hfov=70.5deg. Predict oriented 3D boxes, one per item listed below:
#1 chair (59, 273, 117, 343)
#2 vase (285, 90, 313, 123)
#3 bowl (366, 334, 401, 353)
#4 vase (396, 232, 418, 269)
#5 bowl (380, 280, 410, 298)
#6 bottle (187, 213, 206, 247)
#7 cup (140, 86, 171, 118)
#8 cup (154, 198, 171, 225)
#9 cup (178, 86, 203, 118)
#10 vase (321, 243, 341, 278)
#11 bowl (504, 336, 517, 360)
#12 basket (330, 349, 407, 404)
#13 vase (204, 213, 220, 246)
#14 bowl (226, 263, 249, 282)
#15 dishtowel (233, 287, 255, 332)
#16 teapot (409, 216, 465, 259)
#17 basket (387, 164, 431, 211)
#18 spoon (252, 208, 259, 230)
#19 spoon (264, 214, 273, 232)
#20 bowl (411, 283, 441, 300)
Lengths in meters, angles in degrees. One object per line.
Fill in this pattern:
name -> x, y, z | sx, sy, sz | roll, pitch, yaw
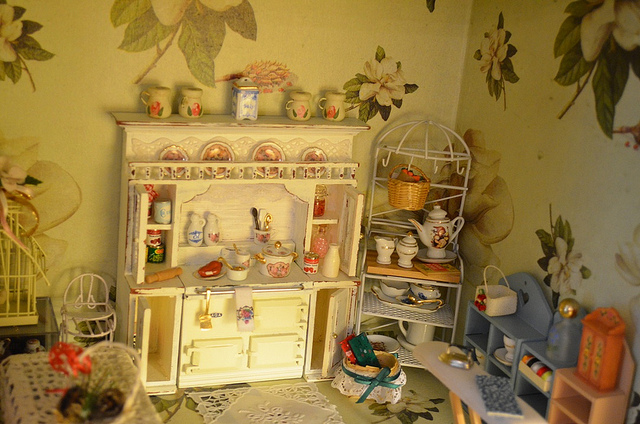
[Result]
chair -> -2.160, 0.878, 4.238 | 0.487, 0.695, 0.731 | -3, 6, -31
vase -> -0.206, -1.056, 4.488 | 0.305, 0.286, 0.242 | -6, 34, -14
bowl -> 0.701, 1.406, 4.881 | 0.231, 0.039, 0.220 | 1, 16, 0
vase -> 0.913, 0.389, 4.727 | 0.220, 0.380, 0.182 | -2, 5, -15
bowl -> 0.825, 0.820, 4.929 | 0.226, 0.094, 0.219 | 1, 10, 0
bottle -> -1.204, 0.177, 4.435 | 0.171, 0.318, 0.080 | -2, 6, -15
cup -> -1.442, -0.981, 4.038 | 0.196, 0.268, 0.111 | -2, 5, -16
cup -> -1.471, -0.010, 4.223 | 0.120, 0.240, 0.146 | -5, 7, -42
cup -> -1.183, -0.997, 4.133 | 0.203, 0.268, 0.148 | -2, 5, -18
vase -> 0.139, 0.489, 4.618 | 0.222, 0.343, 0.126 | -4, 6, -36
bowl -> 1.743, 1.252, 4.126 | 0.066, 0.201, 0.191 | -1, 5, -4
basket -> 0.479, 1.621, 4.422 | 0.560, 0.273, 0.541 | 6, 6, 20
vase -> -1.060, 0.171, 4.484 | 0.161, 0.320, 0.117 | -3, 6, -29
bowl -> -0.782, 0.566, 4.356 | 0.168, 0.095, 0.162 | 3, 11, -1
dishtowel -> -0.688, 0.932, 4.281 | 0.219, 0.398, 0.157 | -5, -9, 8
teapot -> 1.247, 0.272, 4.821 | 0.612, 0.398, 0.356 | -2, 4, -15
basket -> 0.899, -0.275, 4.598 | 0.422, 0.455, 0.479 | 8, 14, 21
spoon -> -0.654, 0.064, 4.574 | 0.048, 0.212, 0.032 | -1, 15, 5
spoon -> -0.527, 0.103, 4.587 | 0.065, 0.165, 0.027 | 7, 15, -3
bowl -> 1.119, 0.828, 4.790 | 0.203, 0.086, 0.160 | 4, 6, 1
